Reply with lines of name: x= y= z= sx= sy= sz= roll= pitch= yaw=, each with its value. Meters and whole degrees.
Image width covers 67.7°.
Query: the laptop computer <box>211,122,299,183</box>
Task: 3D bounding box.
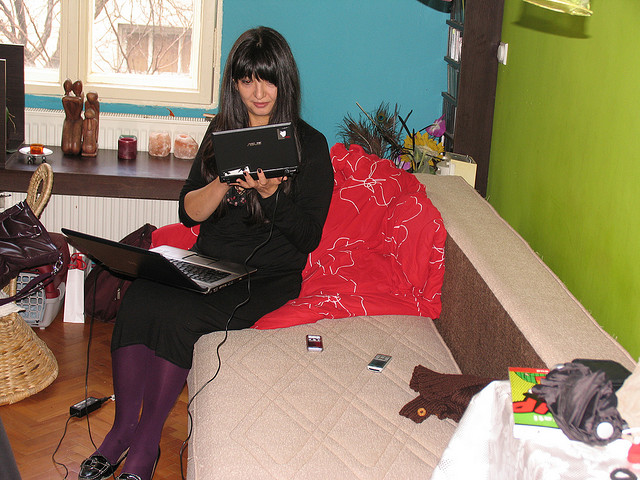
laptop computer: x=-0.232 y=-0.343 z=1.699 sx=0.301 sy=0.077 sz=0.248 roll=-8 pitch=61 yaw=-12

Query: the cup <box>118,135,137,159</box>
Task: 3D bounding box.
cup: x=-1.196 y=-0.576 z=2.958 sx=0.113 sy=0.148 sz=0.125 roll=4 pitch=12 yaw=1
